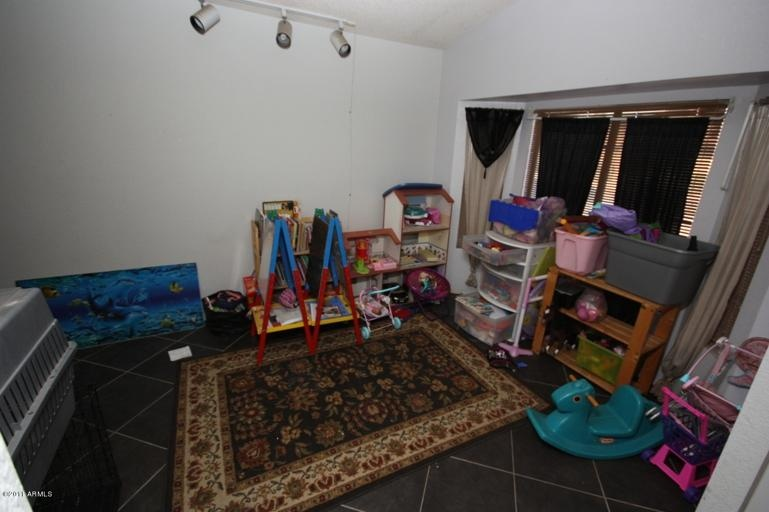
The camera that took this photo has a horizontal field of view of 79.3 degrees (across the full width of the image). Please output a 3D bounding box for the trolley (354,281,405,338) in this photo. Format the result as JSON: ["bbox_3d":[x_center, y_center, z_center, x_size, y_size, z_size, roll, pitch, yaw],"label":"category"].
[{"bbox_3d":[-0.136,0.517,4.954,0.460,0.485,0.673,-9,20,-26],"label":"trolley"}]

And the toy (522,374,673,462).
[{"bbox_3d":[1.758,1.278,3.875,0.998,0.553,0.568,-13,21,2],"label":"toy"}]

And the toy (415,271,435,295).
[{"bbox_3d":[0.456,0.308,5.263,0.150,0.243,0.216,-1,35,-1],"label":"toy"}]

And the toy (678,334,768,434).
[{"bbox_3d":[2.598,0.951,3.609,0.432,0.790,0.742,16,25,35],"label":"toy"}]

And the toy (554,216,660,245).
[{"bbox_3d":[2.007,-0.259,4.265,0.523,0.174,0.359,-6,18,-19],"label":"toy"}]

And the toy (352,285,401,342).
[{"bbox_3d":[-0.101,0.550,4.906,0.388,0.540,0.576,-8,39,-16],"label":"toy"}]

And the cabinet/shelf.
[{"bbox_3d":[1.932,0.569,4.231,0.411,0.808,1.269,-9,30,-33],"label":"cabinet/shelf"}]

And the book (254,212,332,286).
[{"bbox_3d":[-0.917,-0.068,4.626,0.693,0.798,0.727,-4,21,-16],"label":"book"}]

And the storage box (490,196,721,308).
[{"bbox_3d":[1.988,-0.090,4.277,1.761,0.808,0.408,17,25,36],"label":"storage box"}]
